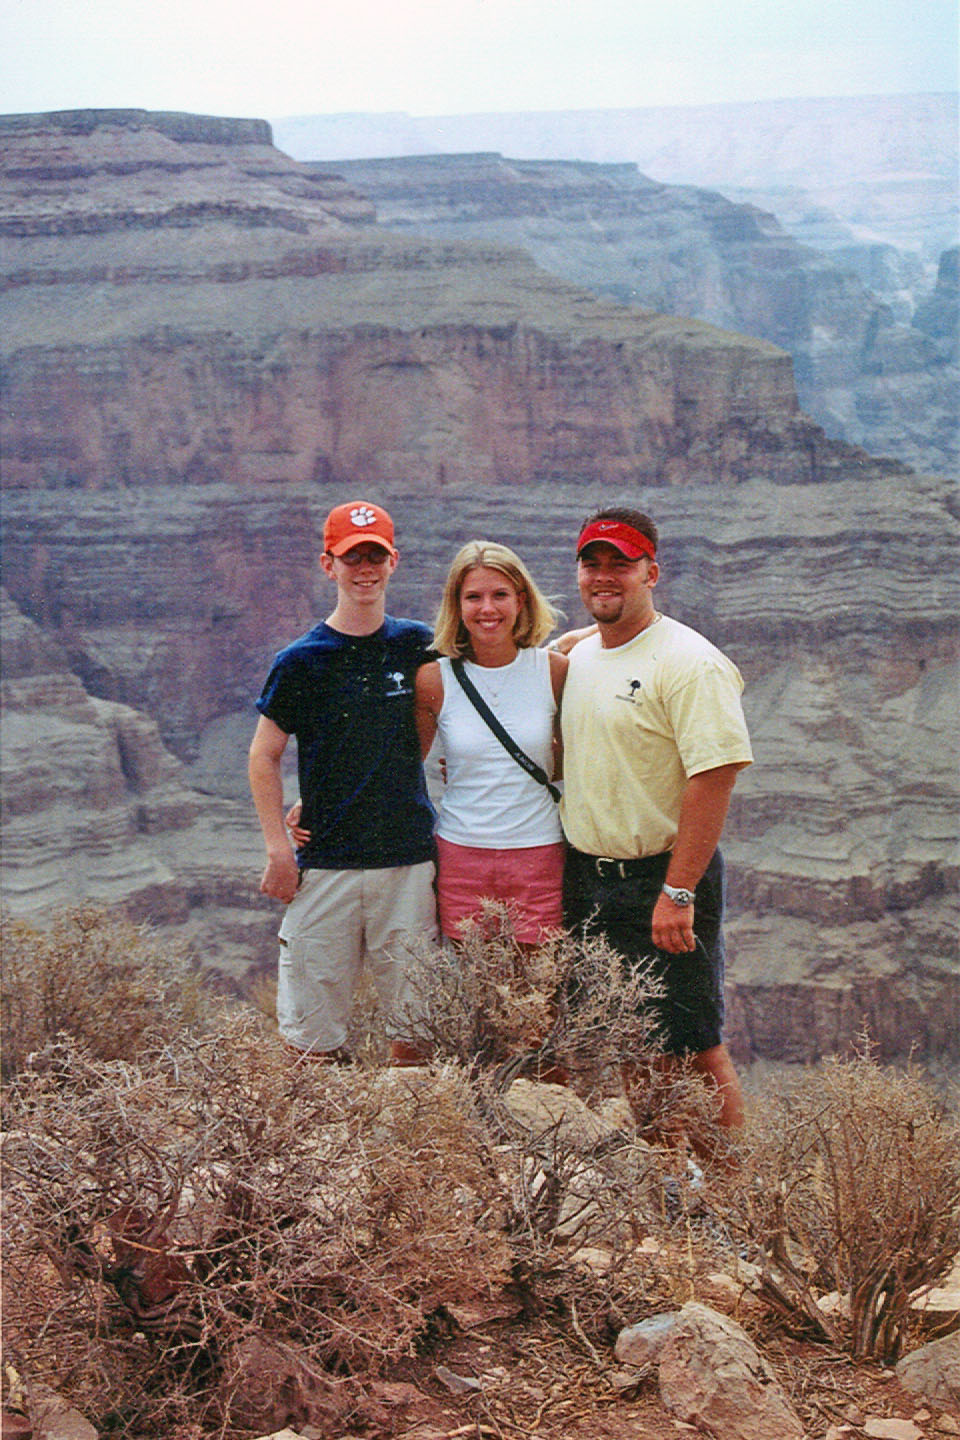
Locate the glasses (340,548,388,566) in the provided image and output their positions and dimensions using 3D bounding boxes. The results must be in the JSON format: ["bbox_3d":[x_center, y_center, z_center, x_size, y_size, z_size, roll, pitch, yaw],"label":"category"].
[{"bbox_3d":[-0.286,-0.408,4.800,0.078,0.048,0.116,3,-3,-3],"label":"glasses"}]

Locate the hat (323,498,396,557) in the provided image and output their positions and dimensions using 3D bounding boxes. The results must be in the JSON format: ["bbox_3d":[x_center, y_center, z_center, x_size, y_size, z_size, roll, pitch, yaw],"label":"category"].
[{"bbox_3d":[-0.312,-0.486,4.900,0.135,0.099,0.189,3,-2,-8],"label":"hat"}]

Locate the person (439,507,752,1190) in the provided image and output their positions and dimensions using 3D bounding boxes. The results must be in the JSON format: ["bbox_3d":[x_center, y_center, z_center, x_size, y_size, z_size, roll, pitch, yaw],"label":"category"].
[{"bbox_3d":[0.414,0.239,4.716,0.520,1.507,0.501,1,8,19],"label":"person"}]

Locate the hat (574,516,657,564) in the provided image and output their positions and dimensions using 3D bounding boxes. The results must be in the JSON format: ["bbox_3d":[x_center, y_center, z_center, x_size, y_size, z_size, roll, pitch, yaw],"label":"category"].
[{"bbox_3d":[0.336,-0.443,4.731,0.209,0.111,0.160,-3,7,-8],"label":"hat"}]
